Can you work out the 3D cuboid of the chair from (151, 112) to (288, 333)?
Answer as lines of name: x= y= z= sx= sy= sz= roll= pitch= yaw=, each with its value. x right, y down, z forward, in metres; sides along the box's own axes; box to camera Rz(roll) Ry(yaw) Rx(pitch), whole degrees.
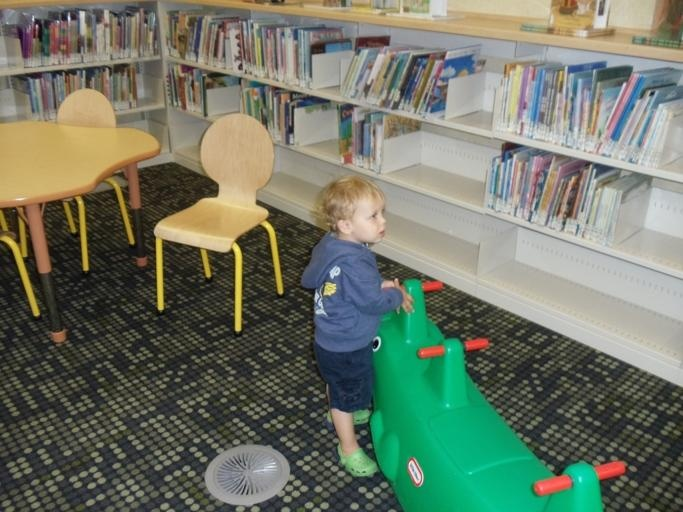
chair: x=-0.626 y=-0.205 z=2.704 sx=0.653 sy=0.936 sz=0.733 roll=4 pitch=29 yaw=4

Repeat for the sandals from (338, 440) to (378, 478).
sandals: x=0.054 y=0.741 z=1.990 sx=0.154 sy=0.059 sz=0.082 roll=15 pitch=22 yaw=41
